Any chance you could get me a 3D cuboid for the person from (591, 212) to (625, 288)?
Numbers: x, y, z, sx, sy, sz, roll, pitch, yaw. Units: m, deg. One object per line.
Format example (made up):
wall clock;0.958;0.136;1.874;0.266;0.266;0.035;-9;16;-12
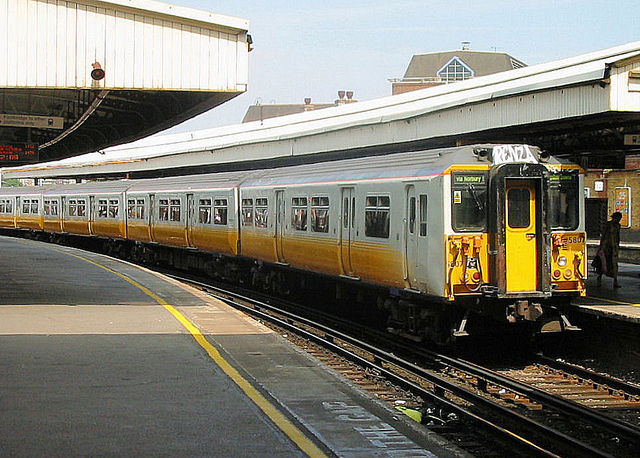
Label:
person;7.992;0.556;16.713;0.695;1.706;1.194;0;0;19
